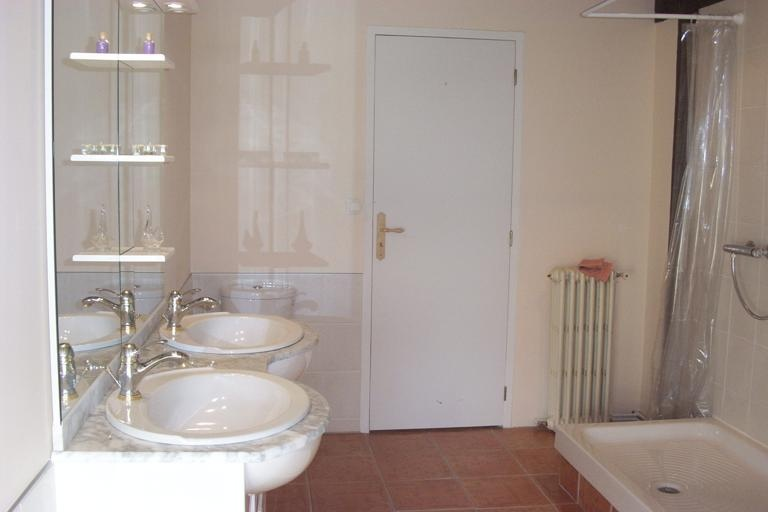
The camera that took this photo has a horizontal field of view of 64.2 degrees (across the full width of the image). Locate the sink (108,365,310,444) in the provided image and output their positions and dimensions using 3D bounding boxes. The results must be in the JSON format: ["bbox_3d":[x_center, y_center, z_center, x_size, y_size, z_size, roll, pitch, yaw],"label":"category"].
[{"bbox_3d":[-0.579,0.509,2.137,0.350,0.093,0.336,2,12,-6],"label":"sink"}]

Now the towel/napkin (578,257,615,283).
[{"bbox_3d":[1.392,0.090,4.011,0.190,0.159,0.083,2,-5,7],"label":"towel/napkin"}]

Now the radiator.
[{"bbox_3d":[1.288,0.585,4.062,0.428,1.122,0.234,-2,14,-13],"label":"radiator"}]
